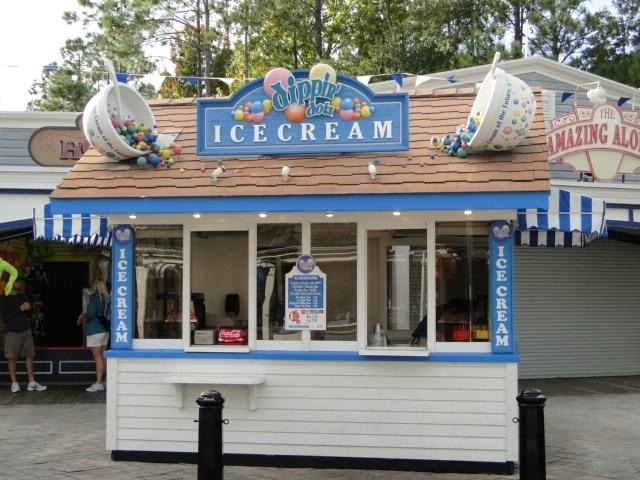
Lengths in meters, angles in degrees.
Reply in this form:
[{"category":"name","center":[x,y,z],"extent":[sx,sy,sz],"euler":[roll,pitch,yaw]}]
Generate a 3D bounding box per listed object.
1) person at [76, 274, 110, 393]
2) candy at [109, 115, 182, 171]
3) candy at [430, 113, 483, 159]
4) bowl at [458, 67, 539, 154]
[{"category":"person","center":[-4.381,1.847,15.899],"extent":[0.464,2.239,0.583],"euler":[1,-6,-16]},{"category":"candy","center":[-2.571,-1.442,12.079],"extent":[0.665,0.902,0.510],"euler":[1,4,19]},{"category":"candy","center":[1.960,-1.502,11.769],"extent":[0.465,0.640,0.517],"euler":[-3,4,-32]},{"category":"bowl","center":[2.541,-1.763,11.589],"extent":[0.776,1.049,1.173],"euler":[16,-9,2]}]
